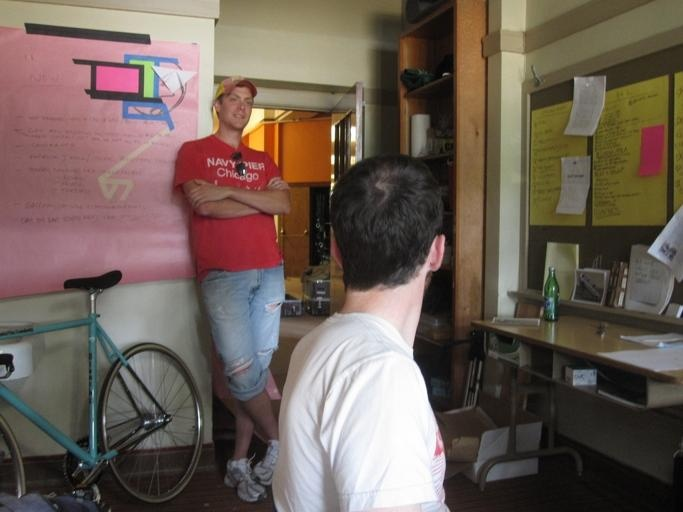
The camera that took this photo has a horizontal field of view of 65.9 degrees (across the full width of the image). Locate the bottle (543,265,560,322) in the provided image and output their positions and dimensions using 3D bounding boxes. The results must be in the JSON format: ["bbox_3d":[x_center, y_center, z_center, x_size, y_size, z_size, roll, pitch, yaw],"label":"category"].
[{"bbox_3d":[1.271,0.217,3.190,0.080,0.300,0.248,3,11,20],"label":"bottle"}]

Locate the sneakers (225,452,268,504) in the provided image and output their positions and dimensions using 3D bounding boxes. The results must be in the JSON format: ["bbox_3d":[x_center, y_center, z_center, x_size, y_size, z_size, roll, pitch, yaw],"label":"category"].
[{"bbox_3d":[-0.546,1.259,3.020,0.126,0.146,0.302,-2,6,-36],"label":"sneakers"}]

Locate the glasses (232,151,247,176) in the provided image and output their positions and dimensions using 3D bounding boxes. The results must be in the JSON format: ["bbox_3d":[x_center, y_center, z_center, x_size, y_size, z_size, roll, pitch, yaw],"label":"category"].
[{"bbox_3d":[-0.588,-0.536,3.032,0.061,0.126,0.091,-10,38,-17],"label":"glasses"}]

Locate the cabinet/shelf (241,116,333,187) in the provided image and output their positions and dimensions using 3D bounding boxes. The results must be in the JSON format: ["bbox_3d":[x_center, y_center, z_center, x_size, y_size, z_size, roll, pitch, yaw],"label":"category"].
[{"bbox_3d":[-0.752,-2.095,10.636,1.783,1.407,1.802,4,11,17],"label":"cabinet/shelf"}]
